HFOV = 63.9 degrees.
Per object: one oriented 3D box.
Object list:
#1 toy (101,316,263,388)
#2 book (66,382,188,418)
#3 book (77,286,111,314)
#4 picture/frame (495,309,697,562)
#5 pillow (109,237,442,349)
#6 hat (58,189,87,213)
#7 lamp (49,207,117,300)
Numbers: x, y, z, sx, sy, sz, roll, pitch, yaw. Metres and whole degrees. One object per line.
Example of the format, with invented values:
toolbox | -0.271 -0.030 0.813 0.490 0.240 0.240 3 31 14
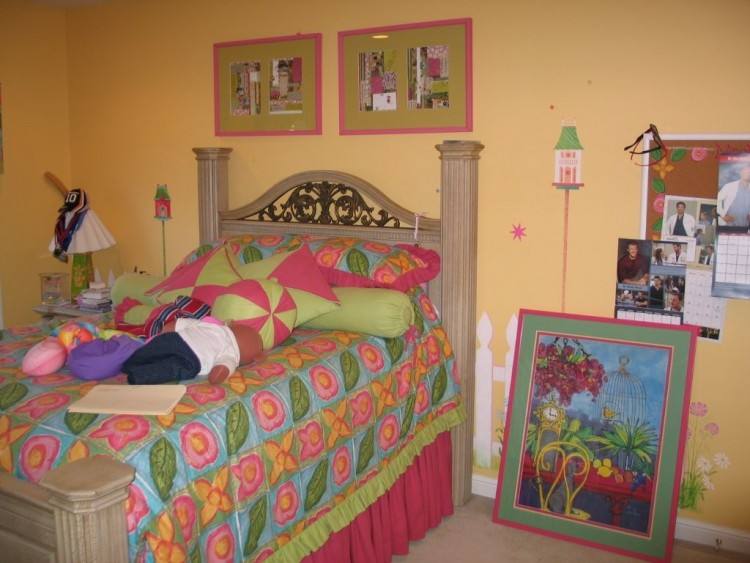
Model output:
toy | -0.717 0.287 2.443 0.332 0.196 0.524 10 14 38
book | -0.885 0.428 2.172 0.359 0.055 0.201 3 11 4
book | -1.863 0.120 3.959 0.182 0.127 0.255 3 2 5
picture/frame | 1.153 0.816 3.055 1.030 1.443 0.066 6 -7 22
pillow | -0.585 0.021 3.122 1.809 0.408 0.978 3 11 6
hat | -2.075 -0.549 4.108 0.184 0.129 0.134 -7 8 -4
lamp | -2.044 -0.201 4.166 0.385 0.610 0.408 -2 14 -23
